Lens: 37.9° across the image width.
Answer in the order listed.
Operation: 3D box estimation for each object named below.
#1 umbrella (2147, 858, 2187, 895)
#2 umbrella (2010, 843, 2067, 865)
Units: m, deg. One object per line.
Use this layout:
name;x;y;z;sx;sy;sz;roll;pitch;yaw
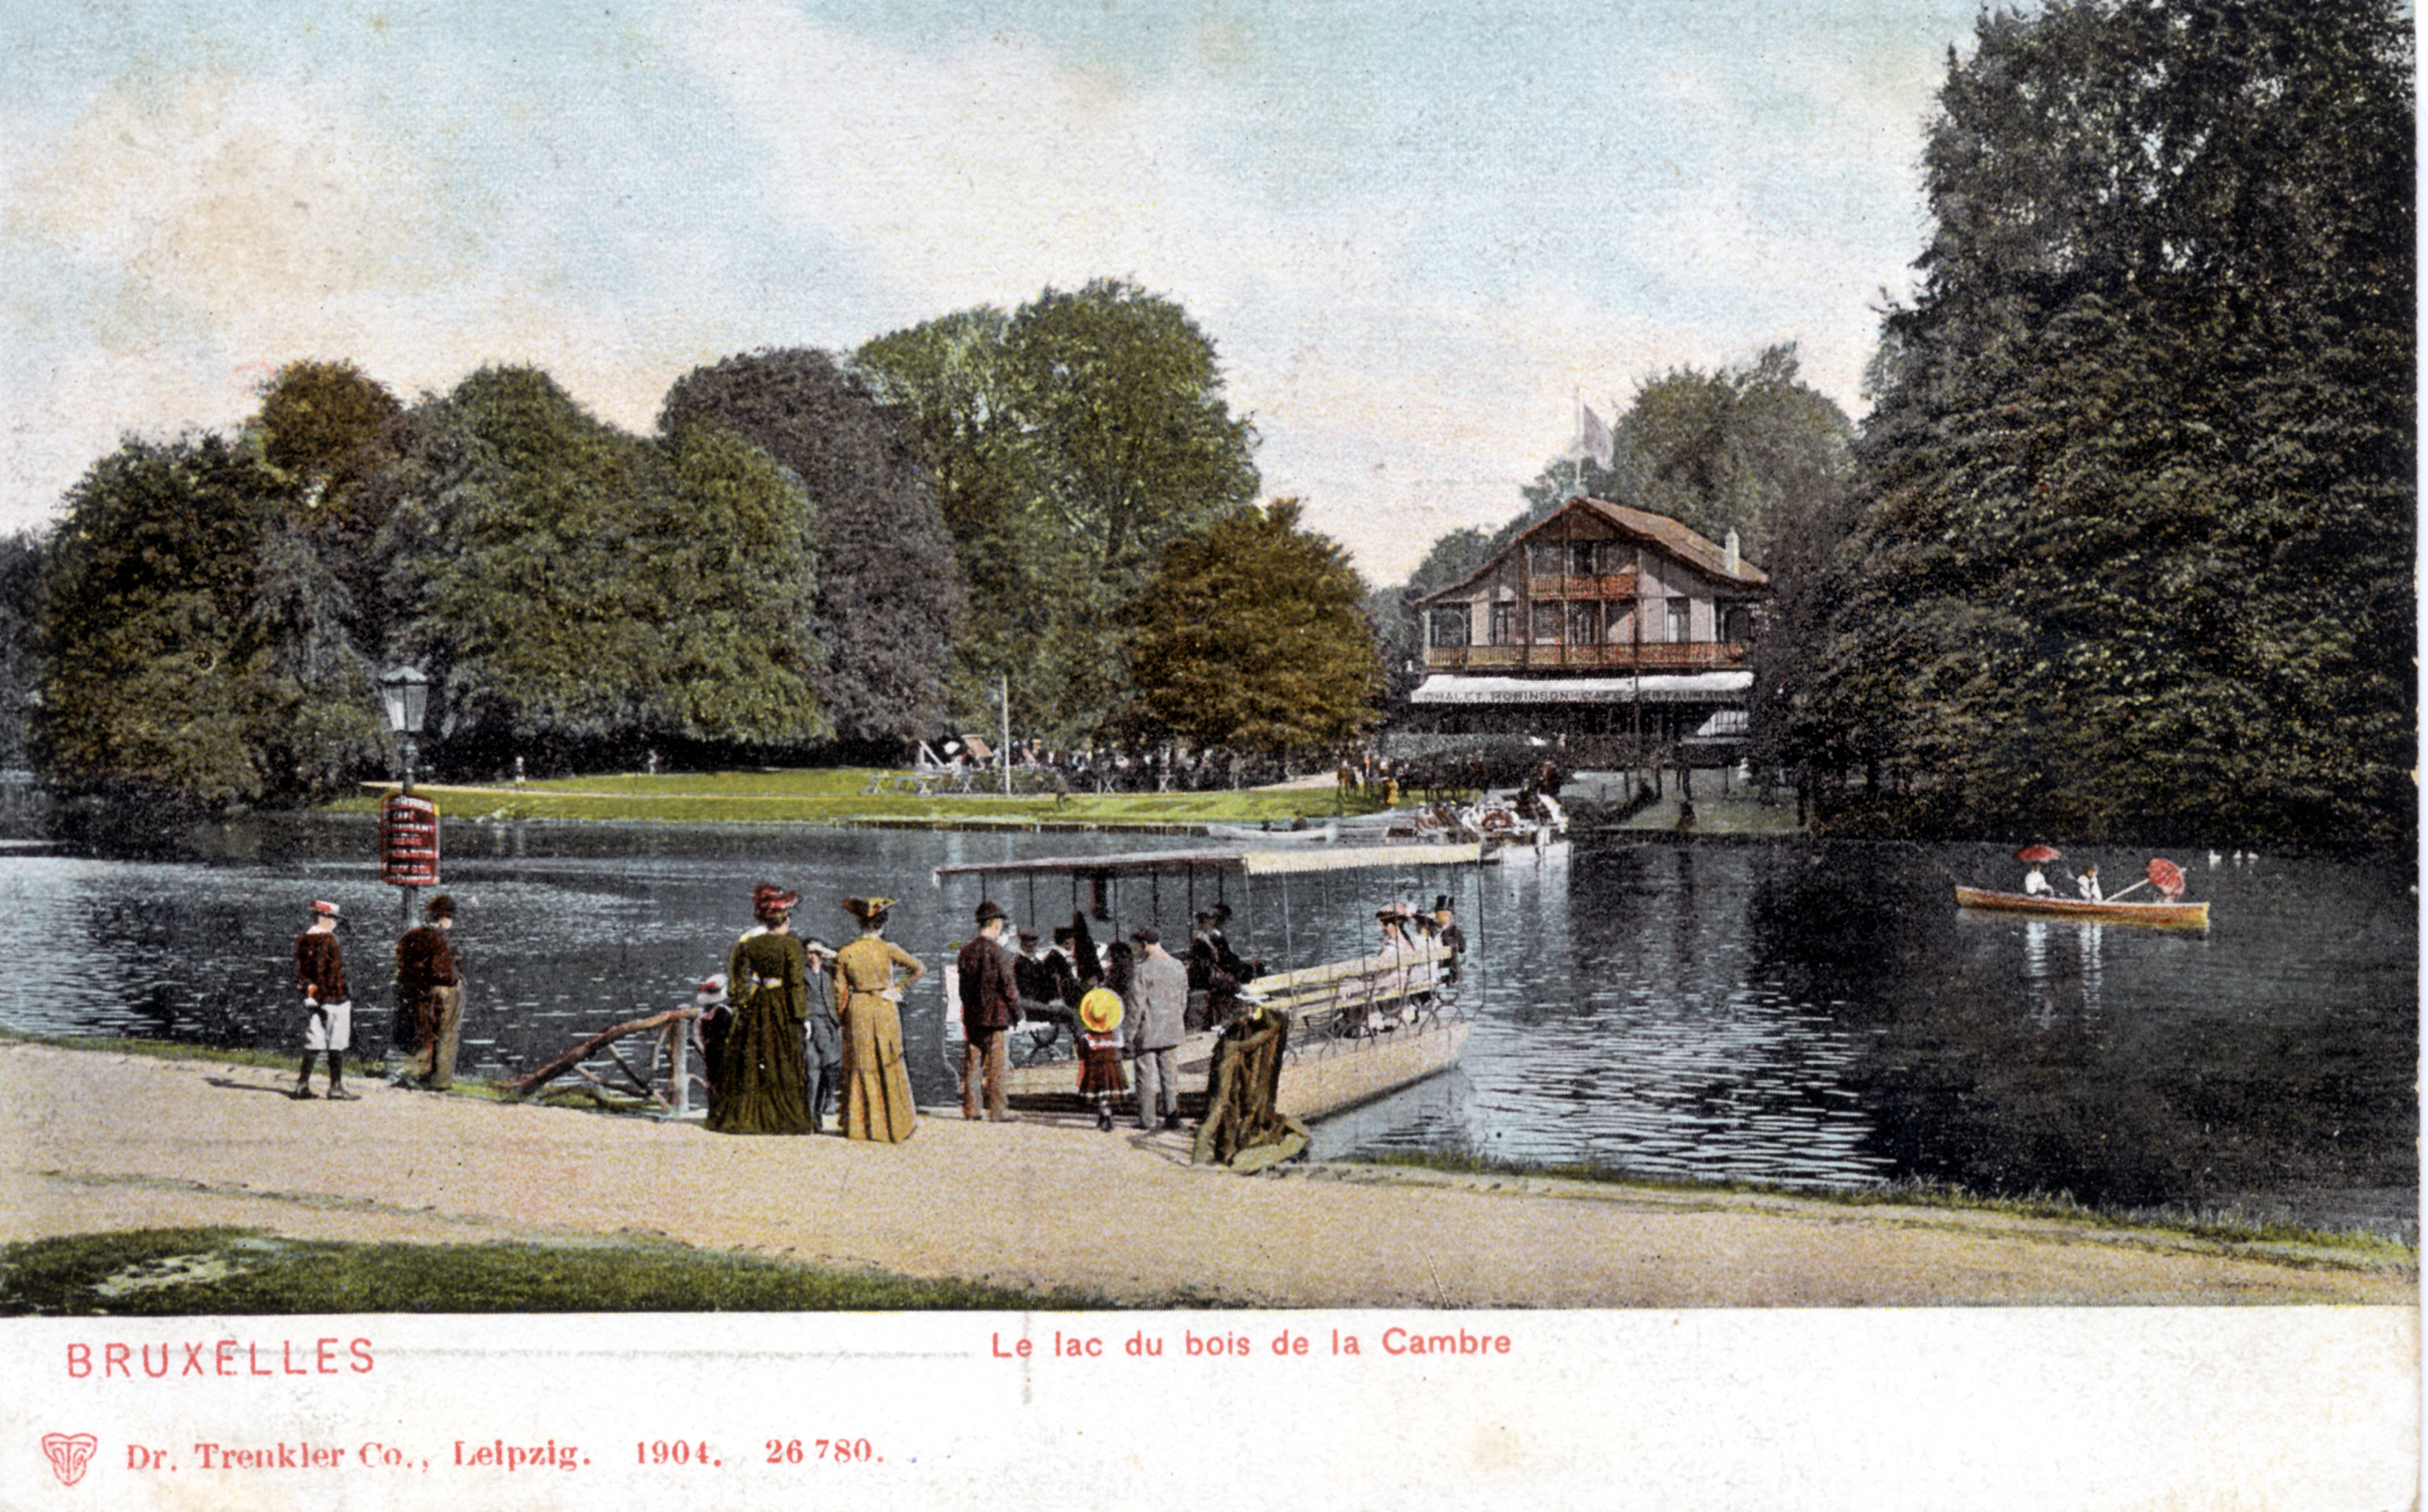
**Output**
umbrella;25.807;3.201;95.955;1.266;0.626;1.618;0;-1;18
umbrella;22.833;2.615;97.209;0.967;0.351;0.954;-5;7;-26
